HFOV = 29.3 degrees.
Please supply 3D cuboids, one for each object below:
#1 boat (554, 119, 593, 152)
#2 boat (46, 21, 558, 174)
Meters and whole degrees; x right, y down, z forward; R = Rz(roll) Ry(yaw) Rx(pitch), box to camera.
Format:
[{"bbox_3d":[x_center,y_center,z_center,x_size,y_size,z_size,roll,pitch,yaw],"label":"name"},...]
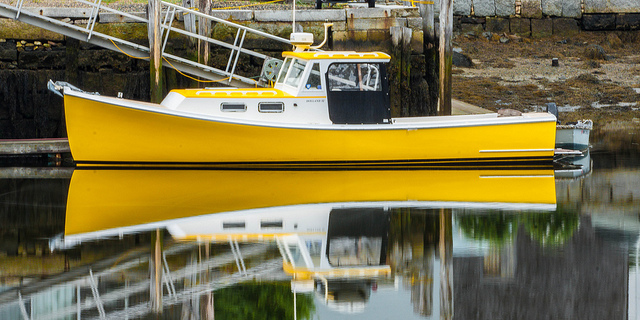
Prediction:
[{"bbox_3d":[8.798,-0.722,41.572,1.851,2.877,1.034,-4,88,2],"label":"boat"},{"bbox_3d":[-0.180,-1.777,39.040,16.342,4.080,4.813,0,90,-14],"label":"boat"}]
